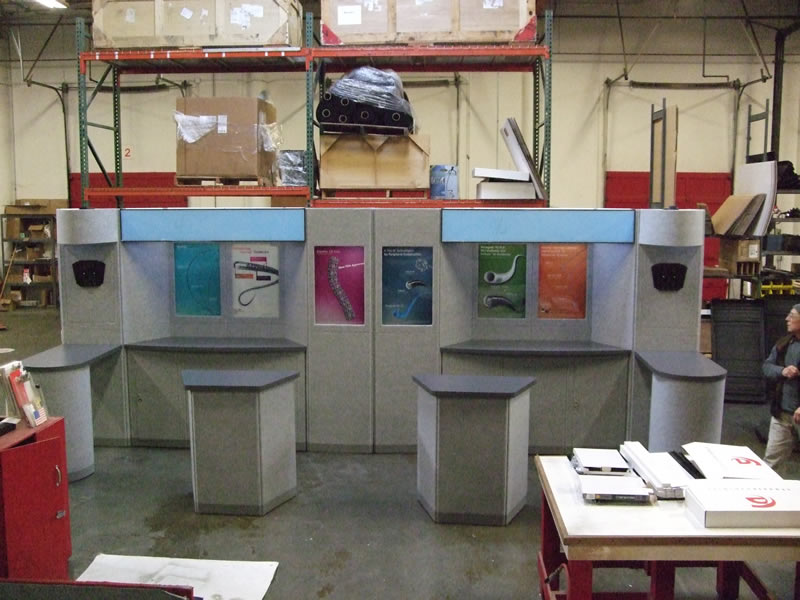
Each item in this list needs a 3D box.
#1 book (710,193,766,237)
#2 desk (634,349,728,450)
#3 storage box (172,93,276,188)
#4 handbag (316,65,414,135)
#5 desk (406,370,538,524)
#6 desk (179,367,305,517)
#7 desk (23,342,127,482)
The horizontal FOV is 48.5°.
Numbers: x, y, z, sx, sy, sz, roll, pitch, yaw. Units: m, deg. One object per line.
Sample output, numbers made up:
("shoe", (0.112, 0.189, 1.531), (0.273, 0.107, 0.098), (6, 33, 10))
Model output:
("book", (4.859, -1.218, 12.667), (0.205, 0.676, 0.648), (27, 3, -26))
("desk", (2.896, 0.968, 9.393), (0.648, 0.991, 1.045), (-10, 26, -6))
("storage box", (-1.991, -1.831, 10.589), (0.970, 0.923, 1.026), (0, 0, 0))
("handbag", (-0.366, -2.196, 10.169), (0.799, 0.540, 0.845), (1, 6, 1))
("desk", (0.741, 1.472, 8.976), (1.293, 1.311, 1.227), (0, 1, 4))
("desk", (-1.538, 1.411, 8.709), (1.047, 1.321, 0.405), (-3, 9, -8))
("desk", (-3.471, 1.340, 9.958), (1.069, 1.529, 1.581), (-1, 2, -11))
